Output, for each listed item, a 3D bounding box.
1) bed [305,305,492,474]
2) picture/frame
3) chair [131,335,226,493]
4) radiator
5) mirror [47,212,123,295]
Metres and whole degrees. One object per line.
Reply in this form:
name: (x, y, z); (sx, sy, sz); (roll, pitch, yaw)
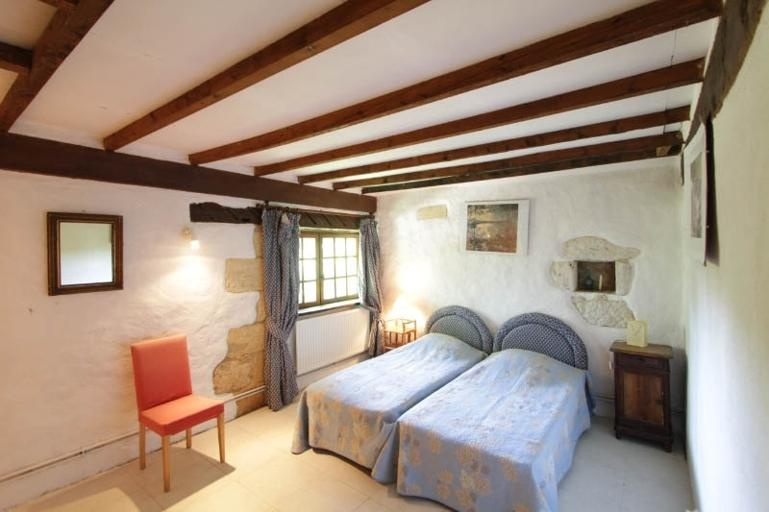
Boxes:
bed: (0.255, 1.369, 5.851); (1.377, 1.154, 2.539); (4, 9, 38)
picture/frame: (1.475, -0.368, 6.361); (0.783, 0.651, 0.053); (0, 0, 40)
chair: (-2.052, 1.481, 4.888); (0.712, 1.341, 0.710); (0, 2, 44)
radiator: (-0.726, 1.148, 6.560); (0.093, 0.602, 0.964); (0, -3, 33)
mirror: (-2.802, -0.033, 4.571); (0.801, 1.056, 0.108); (-1, 2, -43)
